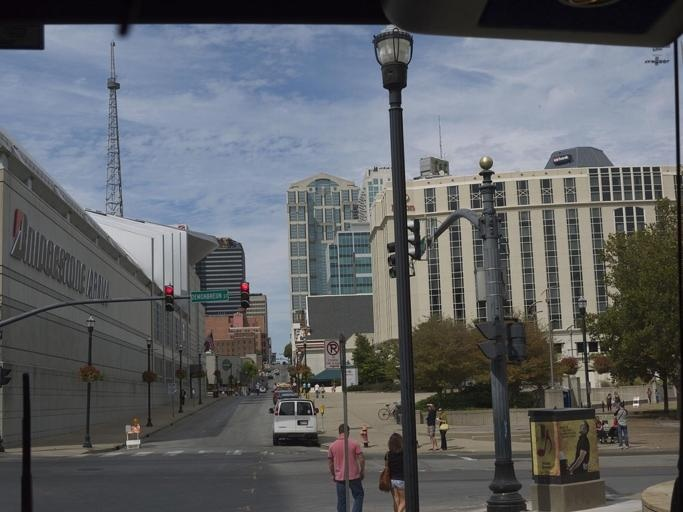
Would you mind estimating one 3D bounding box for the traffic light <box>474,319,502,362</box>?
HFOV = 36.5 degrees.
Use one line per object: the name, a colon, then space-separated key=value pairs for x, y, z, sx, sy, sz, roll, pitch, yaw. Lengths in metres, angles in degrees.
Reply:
traffic light: x=4.924 y=2.724 z=34.264 sx=0.736 sy=1.319 sz=0.938 roll=-8 pitch=-10 yaw=27
